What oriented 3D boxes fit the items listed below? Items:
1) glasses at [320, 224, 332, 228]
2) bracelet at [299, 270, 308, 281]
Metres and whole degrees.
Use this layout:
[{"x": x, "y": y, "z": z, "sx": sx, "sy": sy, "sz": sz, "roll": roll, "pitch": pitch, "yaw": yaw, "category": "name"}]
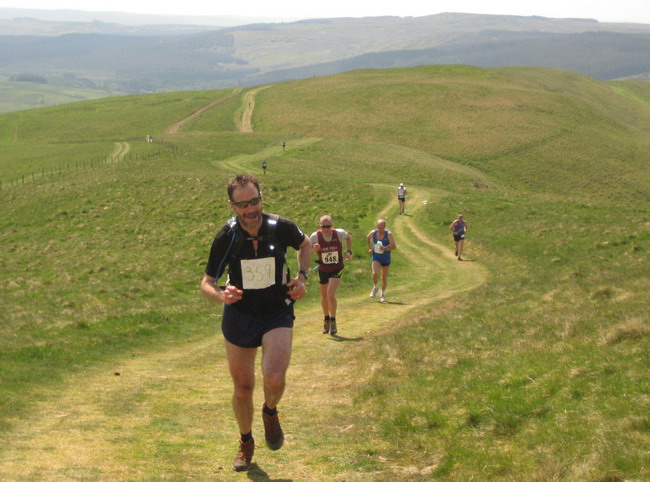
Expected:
[{"x": 0.025, "y": -0.468, "z": 23.644, "sx": 0.333, "sy": 0.163, "sz": 0.163, "roll": -1, "pitch": 14, "yaw": 10, "category": "glasses"}, {"x": -0.494, "y": 0.755, "z": 17.130, "sx": 0.164, "sy": 0.128, "sz": 0.224, "roll": -6, "pitch": 59, "yaw": -14, "category": "bracelet"}]
